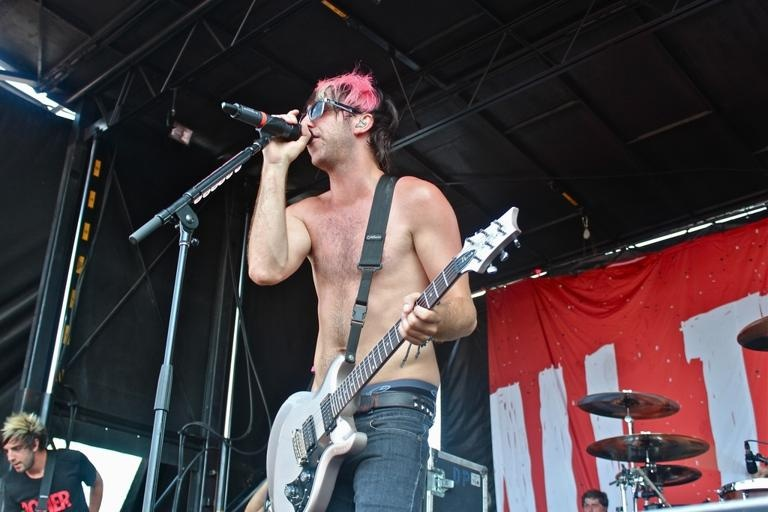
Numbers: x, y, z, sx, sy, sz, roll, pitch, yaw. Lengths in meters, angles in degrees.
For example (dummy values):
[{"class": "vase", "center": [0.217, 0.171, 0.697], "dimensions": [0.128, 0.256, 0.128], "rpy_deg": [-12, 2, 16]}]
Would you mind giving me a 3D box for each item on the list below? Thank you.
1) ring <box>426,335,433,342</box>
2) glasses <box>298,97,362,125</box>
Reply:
[{"class": "ring", "center": [0.215, 0.387, 2.709], "dimensions": [0.017, 0.023, 0.054], "rpy_deg": [0, -22, -2]}, {"class": "glasses", "center": [-0.318, -0.843, 3.322], "dimensions": [0.180, 0.068, 0.193], "rpy_deg": [15, -16, -19]}]
